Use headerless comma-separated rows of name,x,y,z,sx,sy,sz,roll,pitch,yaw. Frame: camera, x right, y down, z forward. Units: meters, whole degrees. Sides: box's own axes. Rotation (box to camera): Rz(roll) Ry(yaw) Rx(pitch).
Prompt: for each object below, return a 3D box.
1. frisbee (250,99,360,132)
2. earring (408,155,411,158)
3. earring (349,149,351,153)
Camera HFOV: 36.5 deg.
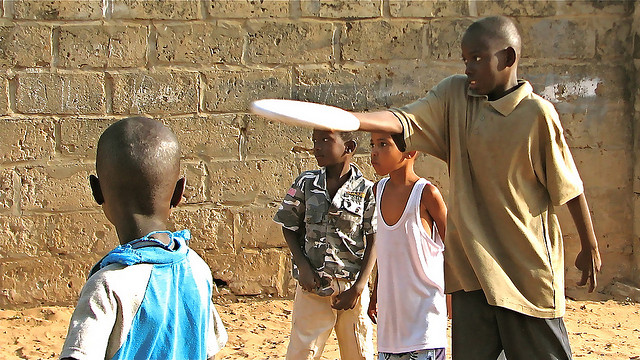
frisbee,-0.148,-0.607,8.769,0.510,0.090,0.486,13,0,16
earring,0.908,-0.250,9.947,0.029,0.026,0.005,0,1,-16
earring,0.310,-0.317,10.331,0.019,0.033,0.010,0,1,-26
